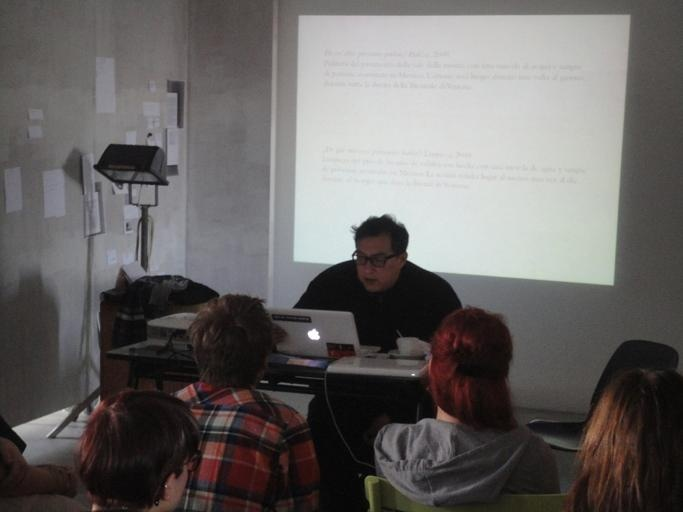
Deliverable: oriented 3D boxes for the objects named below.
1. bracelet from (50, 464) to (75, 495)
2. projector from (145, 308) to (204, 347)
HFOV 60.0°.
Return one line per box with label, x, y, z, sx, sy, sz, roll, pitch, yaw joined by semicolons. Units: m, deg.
bracelet;-0.907;0.710;1.922;0.066;0.101;0.039;-2;6;-2
projector;-0.824;0.334;2.840;0.302;0.133;0.269;1;8;1
